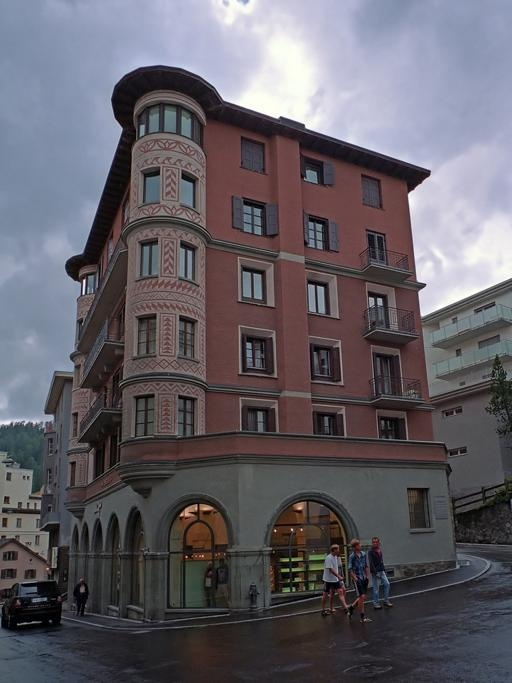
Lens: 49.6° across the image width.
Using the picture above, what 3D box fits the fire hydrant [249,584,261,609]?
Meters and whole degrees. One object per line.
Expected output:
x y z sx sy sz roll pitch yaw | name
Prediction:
-0.090 7.711 16.806 0.325 0.707 0.576 -5 -19 2 | fire hydrant
